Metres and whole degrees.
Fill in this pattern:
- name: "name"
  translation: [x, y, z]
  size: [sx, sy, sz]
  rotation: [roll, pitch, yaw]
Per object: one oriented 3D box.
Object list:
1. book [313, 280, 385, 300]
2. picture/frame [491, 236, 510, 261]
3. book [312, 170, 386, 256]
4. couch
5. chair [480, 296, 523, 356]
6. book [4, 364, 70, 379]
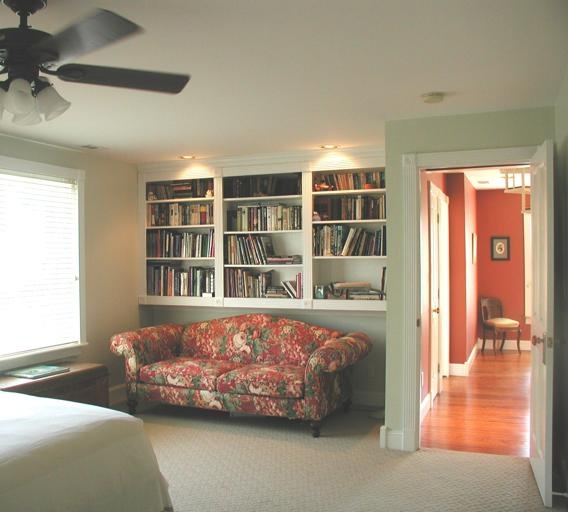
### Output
- name: "book"
  translation: [0.694, 0.376, 5.139]
  size: [0.735, 0.137, 0.254]
  rotation: [-1, -1, 11]
- name: "picture/frame"
  translation: [3.888, -0.132, 8.714]
  size: [0.419, 0.582, 0.059]
  rotation: [0, -1, 20]
- name: "book"
  translation: [0.693, -0.449, 5.204]
  size: [0.762, 0.731, 0.517]
  rotation: [-1, -1, 10]
- name: "couch"
  translation: [-0.396, 1.155, 4.916]
  size: [2.405, 0.714, 0.908]
  rotation: [-1, -1, 21]
- name: "chair"
  translation: [3.793, 1.218, 8.559]
  size: [0.665, 0.920, 0.820]
  rotation: [-1, -1, 26]
- name: "book"
  translation: [-2.175, 1.034, 4.321]
  size: [0.406, 0.026, 0.423]
  rotation: [-1, -1, 28]
